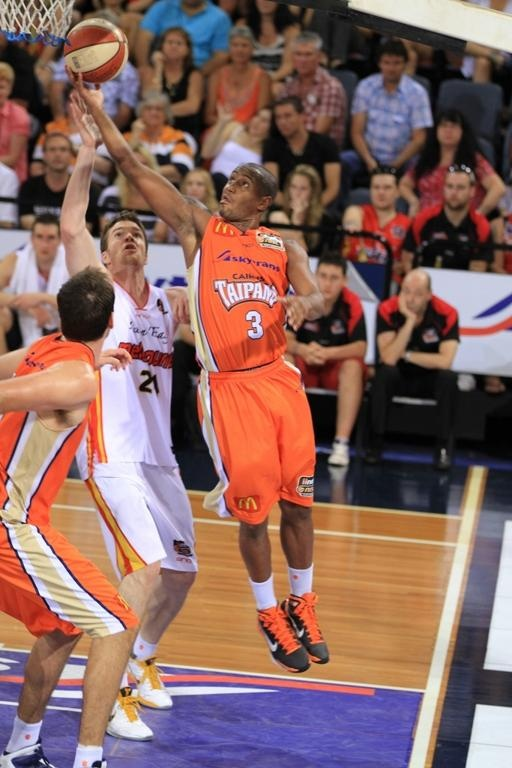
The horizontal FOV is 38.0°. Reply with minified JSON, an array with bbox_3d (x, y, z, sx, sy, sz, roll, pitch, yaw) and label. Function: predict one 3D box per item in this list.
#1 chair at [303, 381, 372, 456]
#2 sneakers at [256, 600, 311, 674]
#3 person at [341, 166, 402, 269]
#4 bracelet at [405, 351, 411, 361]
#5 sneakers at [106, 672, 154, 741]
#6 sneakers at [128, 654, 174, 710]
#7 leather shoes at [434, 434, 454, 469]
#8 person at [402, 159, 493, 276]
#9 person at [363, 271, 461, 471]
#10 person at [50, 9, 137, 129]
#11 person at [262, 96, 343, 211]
[{"bbox_3d":[0.713,0.281,6.469,0.954,0.586,0.484,0,1,11],"label":"chair"},{"bbox_3d":[0.071,0.811,2.505,0.105,0.125,0.287,-23,48,-12],"label":"sneakers"},{"bbox_3d":[1.042,-1.444,6.555,0.571,0.832,0.736,3,2,18],"label":"person"},{"bbox_3d":[1.256,-0.227,6.128,0.049,0.062,0.065,-2,-3,22],"label":"bracelet"},{"bbox_3d":[-0.433,1.067,2.438,0.102,0.126,0.286,8,-7,-31],"label":"sneakers"},{"bbox_3d":[-0.395,1.058,2.702,0.093,0.111,0.246,-8,37,-41],"label":"sneakers"},{"bbox_3d":[1.542,0.555,6.041,0.166,0.275,0.072,1,3,-11],"label":"leather shoes"},{"bbox_3d":[1.642,-1.396,6.362,0.762,0.903,0.455,2,3,13],"label":"person"},{"bbox_3d":[1.307,-0.127,6.130,0.715,1.605,0.320,3,3,13],"label":"person"},{"bbox_3d":[-1.703,-3.583,8.029,1.067,0.613,0.710,4,28,31],"label":"person"},{"bbox_3d":[0.408,-2.169,6.951,0.765,0.991,0.662,3,33,16],"label":"person"}]
